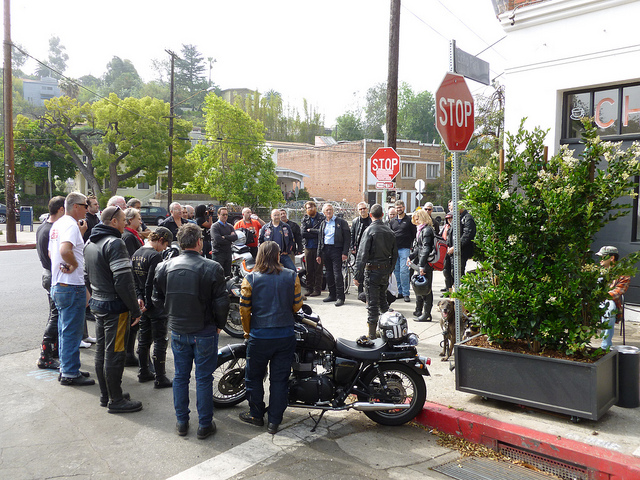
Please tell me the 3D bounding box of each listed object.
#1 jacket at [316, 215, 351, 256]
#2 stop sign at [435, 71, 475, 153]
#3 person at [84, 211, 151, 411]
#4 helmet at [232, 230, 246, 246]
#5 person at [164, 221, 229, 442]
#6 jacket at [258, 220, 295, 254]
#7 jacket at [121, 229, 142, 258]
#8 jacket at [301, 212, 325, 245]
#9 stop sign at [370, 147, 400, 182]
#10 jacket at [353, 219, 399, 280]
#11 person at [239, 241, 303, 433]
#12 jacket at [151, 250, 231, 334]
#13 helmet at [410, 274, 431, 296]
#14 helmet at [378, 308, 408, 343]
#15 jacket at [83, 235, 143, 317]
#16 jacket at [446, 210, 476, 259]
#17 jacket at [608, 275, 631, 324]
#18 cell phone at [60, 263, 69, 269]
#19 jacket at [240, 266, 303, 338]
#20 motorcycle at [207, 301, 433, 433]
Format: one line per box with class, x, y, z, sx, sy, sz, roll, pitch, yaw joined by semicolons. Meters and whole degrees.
jacket;0.290;-0.065;13.026;0.769;0.948;0.458;-2;-6;31
stop sign;1.805;-1.680;8.038;0.491;1.053;0.733;5;14;14
person;-2.686;0.919;7.881;0.598;2.427;1.070;-5;15;-22
helmet;-1.644;-0.043;12.431;0.233;0.324;0.309;3;-8;20
person;-1.519;1.096;7.346;0.751;2.425;0.883;-11;18;-40
jacket;-0.934;-0.071;13.059;0.741;0.778;0.428;2;8;-3
jacket;-2.792;0.067;8.877;0.173;0.355;0.346;-9;9;-9
jacket;-0.215;-0.237;13.389;0.478;0.702;0.251;2;1;5
stop sign;1.387;-1.611;12.860;0.685;0.841;0.024;0;-21;11
jacket;0.887;0.156;9.813;0.777;0.913;0.345;-8;17;-33
person;-0.620;1.169;7.435;0.643;2.264;0.571;8;16;28
jacket;-1.625;0.595;7.538;0.998;1.016;0.627;2;13;2
helmet;1.688;0.755;10.347;0.359;0.272;0.379;4;-26;36
helmet;0.935;1.104;7.727;0.339;0.404;0.468;-4;-1;-9
jacket;-2.829;0.494;8.152;1.009;1.288;0.583;-1;2;41
jacket;2.727;-0.109;11.546;0.516;0.861;1.011;2;14;3
jacket;4.361;0.908;8.848;0.323;0.522;0.318;15;-24;-43
cell phone;-3.571;0.367;8.384;0.134;0.069;0.051;6;15;18
jacket;-0.619;0.727;7.614;1.008;1.217;0.697;-1;-3;-2
motorcycle;-0.019;1.552;8.015;2.792;1.734;1.385;5;-9;6
